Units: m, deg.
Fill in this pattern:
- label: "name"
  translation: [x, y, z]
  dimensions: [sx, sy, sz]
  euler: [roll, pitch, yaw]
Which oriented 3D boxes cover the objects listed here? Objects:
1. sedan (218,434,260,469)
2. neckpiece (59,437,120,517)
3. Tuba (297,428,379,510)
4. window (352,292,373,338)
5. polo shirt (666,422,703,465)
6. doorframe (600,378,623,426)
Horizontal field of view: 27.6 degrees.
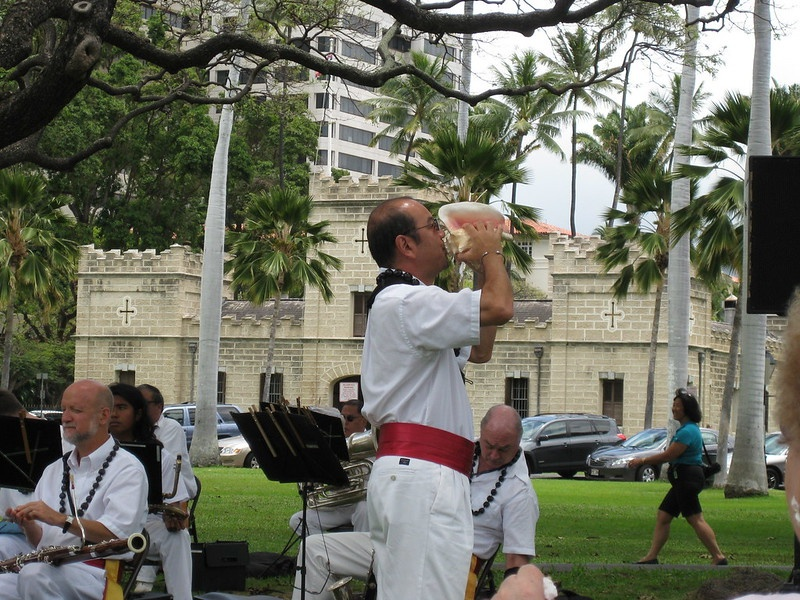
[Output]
- label: "sedan"
  translation: [-4.074, 3.775, 40.334]
  dimensions: [0.950, 0.718, 1.408]
  euler: [2, -4, -22]
- label: "neckpiece"
  translation: [-3.802, 2.171, 20.079]
  dimensions: [0.565, 0.964, 0.575]
  euler: [-1, -4, 29]
- label: "Tuba"
  translation: [-0.811, 2.346, 21.912]
  dimensions: [0.897, 1.157, 0.859]
  euler: [-1, 0, -44]
- label: "window"
  translation: [-1.259, 0.450, 53.539]
  dimensions: [0.795, 1.674, 0.218]
  euler: [1, 14, -3]
- label: "polo shirt"
  translation: [4.204, 2.169, 24.344]
  dimensions: [0.500, 0.745, 0.925]
  euler: [1, -6, 17]
- label: "doorframe"
  translation: [6.410, 3.075, 49.438]
  dimensions: [0.689, 1.380, 0.125]
  euler: [1, 8, 11]
